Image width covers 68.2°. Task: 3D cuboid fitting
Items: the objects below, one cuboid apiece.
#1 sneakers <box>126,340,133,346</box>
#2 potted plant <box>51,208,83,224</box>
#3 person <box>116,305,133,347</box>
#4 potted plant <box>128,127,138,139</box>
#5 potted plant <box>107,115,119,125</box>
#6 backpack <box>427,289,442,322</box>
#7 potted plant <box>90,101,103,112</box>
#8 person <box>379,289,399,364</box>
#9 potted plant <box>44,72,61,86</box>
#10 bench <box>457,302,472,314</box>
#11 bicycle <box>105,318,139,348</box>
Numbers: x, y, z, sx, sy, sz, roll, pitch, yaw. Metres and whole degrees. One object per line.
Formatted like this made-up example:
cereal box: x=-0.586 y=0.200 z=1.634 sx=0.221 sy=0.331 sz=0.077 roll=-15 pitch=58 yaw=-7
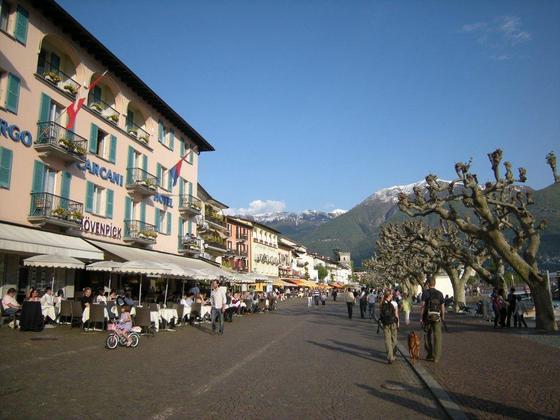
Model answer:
sneakers: x=-4.804 y=4.184 z=13.073 sx=0.155 sy=0.251 sz=0.349 roll=8 pitch=-16 yaw=-32
potted plant: x=-11.268 y=0.340 z=21.806 sx=0.331 sy=0.658 sz=1.816 roll=-6 pitch=-15 yaw=23
person: x=-4.926 y=3.669 z=13.059 sx=0.525 sy=1.242 sz=0.600 roll=-10 pitch=-16 yaw=36
potted plant: x=-10.512 y=-5.523 z=29.337 sx=0.686 sy=0.655 sz=0.705 roll=0 pitch=1 yaw=-28
potted plant: x=-10.936 y=-5.903 z=26.962 sx=0.507 sy=0.398 sz=0.534 roll=-1 pitch=-10 yaw=5
backpack: x=4.183 y=2.622 z=11.224 sx=0.386 sy=0.652 sz=0.647 roll=0 pitch=-24 yaw=9
potted plant: x=-11.278 y=-6.285 z=25.262 sx=0.596 sy=0.230 sz=0.600 roll=7 pitch=-6 yaw=26
person: x=3.074 y=3.223 z=11.584 sx=0.469 sy=1.935 sz=1.293 roll=-4 pitch=-14 yaw=15
potted plant: x=-12.128 y=-6.987 z=21.910 sx=0.598 sy=0.494 sz=0.669 roll=1 pitch=-1 yaw=13
bench: x=15.555 y=8.216 z=34.688 sx=0.942 sy=0.478 sz=1.051 roll=-4 pitch=-10 yaw=-9
bicycle: x=-4.998 y=4.020 z=13.157 sx=1.204 sy=0.869 sz=0.624 roll=18 pitch=-31 yaw=-40
